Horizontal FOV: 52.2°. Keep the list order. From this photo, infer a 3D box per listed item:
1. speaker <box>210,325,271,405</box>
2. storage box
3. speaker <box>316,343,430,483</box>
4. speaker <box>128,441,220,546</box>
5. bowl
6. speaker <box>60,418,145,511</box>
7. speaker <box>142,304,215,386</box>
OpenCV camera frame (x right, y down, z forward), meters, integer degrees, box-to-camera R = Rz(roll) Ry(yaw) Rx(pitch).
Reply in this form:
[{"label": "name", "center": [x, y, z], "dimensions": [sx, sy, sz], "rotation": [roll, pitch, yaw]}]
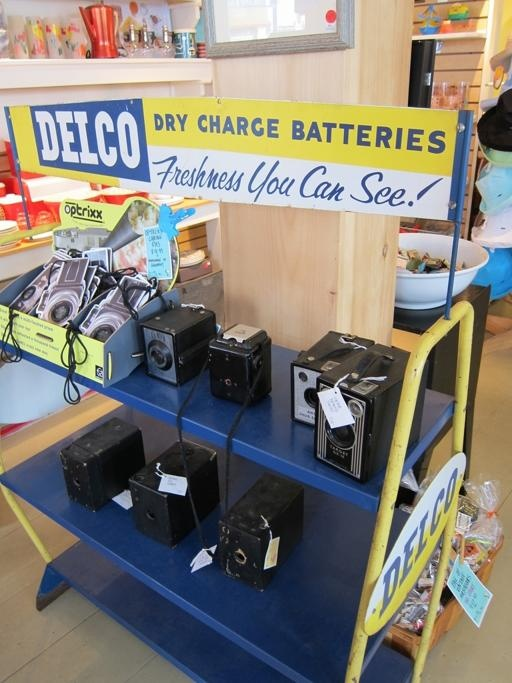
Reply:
[{"label": "speaker", "center": [-0.031, 0.054, 1.087], "dimensions": [0.116, 0.111, 0.083], "rotation": [21, 35, 33]}, {"label": "storage box", "center": [0.568, 0.809, 1.599], "dimensions": [0.247, 0.129, 0.390], "rotation": [18, 34, 38]}, {"label": "speaker", "center": [0.195, 0.108, 0.906], "dimensions": [0.124, 0.169, 0.238], "rotation": [17, 32, 36]}, {"label": "speaker", "center": [-0.215, 0.417, 1.396], "dimensions": [0.142, 0.226, 0.263], "rotation": [11, 31, 33]}, {"label": "bowl", "center": [0.607, -0.223, 1.806], "dimensions": [0.351, 0.145, 0.353], "rotation": [-2, 26, 1]}, {"label": "speaker", "center": [-0.455, 0.377, 1.559], "dimensions": [0.099, 0.158, 0.184], "rotation": [11, 29, 27]}, {"label": "speaker", "center": [-0.177, 0.009, 1.271], "dimensions": [0.139, 0.150, 0.191], "rotation": [14, 29, 26]}]
